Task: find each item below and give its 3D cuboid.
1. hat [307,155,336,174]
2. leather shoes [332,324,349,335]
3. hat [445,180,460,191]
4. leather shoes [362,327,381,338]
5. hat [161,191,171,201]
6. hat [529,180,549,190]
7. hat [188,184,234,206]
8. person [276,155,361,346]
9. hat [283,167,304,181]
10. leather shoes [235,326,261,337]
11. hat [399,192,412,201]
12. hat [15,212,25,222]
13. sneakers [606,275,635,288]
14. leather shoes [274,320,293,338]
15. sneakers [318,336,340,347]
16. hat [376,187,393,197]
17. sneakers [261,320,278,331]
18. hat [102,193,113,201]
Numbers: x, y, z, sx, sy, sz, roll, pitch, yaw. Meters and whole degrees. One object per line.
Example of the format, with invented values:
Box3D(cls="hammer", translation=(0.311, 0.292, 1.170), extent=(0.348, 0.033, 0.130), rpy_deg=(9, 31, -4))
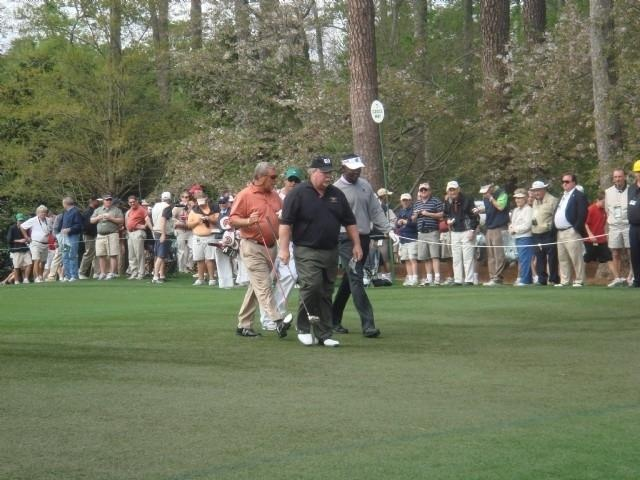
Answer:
Box3D(cls="hat", translation=(0.010, -1.297, 21.602), extent=(0.260, 0.174, 0.361), rpy_deg=(-3, 6, -40))
Box3D(cls="leather shoes", translation=(0.346, 1.615, 22.618), extent=(0.294, 0.112, 0.132), rpy_deg=(-1, -2, 18))
Box3D(cls="hat", translation=(3.038, -1.289, 29.286), extent=(0.274, 0.183, 0.400), rpy_deg=(-8, -8, 15))
Box3D(cls="leather shoes", translation=(0.870, 1.647, 22.057), extent=(0.320, 0.127, 0.140), rpy_deg=(-11, -9, 43))
Box3D(cls="hat", translation=(-4.044, -1.122, 32.656), extent=(0.220, 0.161, 0.298), rpy_deg=(0, 0, -2))
Box3D(cls="hat", translation=(4.922, -1.235, 28.762), extent=(0.335, 0.143, 0.354), rpy_deg=(-4, 2, -25))
Box3D(cls="hat", translation=(-3.051, -1.249, 34.722), extent=(1.375, 0.573, 1.287), rpy_deg=(1, -1, 2))
Box3D(cls="person", translation=(-0.100, 0.167, 21.777), extent=(0.982, 3.193, 1.145), rpy_deg=(11, 19, 36))
Box3D(cls="hat", translation=(-0.497, -1.186, 22.876), extent=(0.298, 0.191, 0.381), rpy_deg=(12, -1, -4))
Box3D(cls="leather shoes", translation=(-1.306, 1.669, 22.442), extent=(0.443, 0.171, 0.164), rpy_deg=(-1, -1, 11))
Box3D(cls="hat", translation=(2.092, -1.104, 31.321), extent=(0.289, 0.149, 0.440), rpy_deg=(-2, -1, 13))
Box3D(cls="hat", translation=(-8.660, -0.657, 36.138), extent=(0.299, 0.219, 0.447), rpy_deg=(0, -5, -15))
Box3D(cls="sneakers", translation=(6.505, 0.939, 27.511), extent=(0.665, 0.257, 0.220), rpy_deg=(-1, -7, -12))
Box3D(cls="leather shoes", translation=(-0.676, 1.570, 22.011), extent=(0.211, 0.434, 0.160), rpy_deg=(22, -4, -41))
Box3D(cls="sneakers", translation=(0.127, 1.778, 21.636), extent=(0.307, 0.111, 0.140), rpy_deg=(-5, -4, 42))
Box3D(cls="hat", translation=(1.508, -1.172, 30.484), extent=(0.270, 0.085, 0.290), rpy_deg=(-18, -7, 34))
Box3D(cls="sneakers", translation=(-0.961, 1.581, 22.960), extent=(0.318, 0.199, 0.163), rpy_deg=(-2, -2, 28))
Box3D(cls="hat", translation=(-5.727, -1.175, 33.709), extent=(0.268, 0.183, 0.343), rpy_deg=(3, -14, -24))
